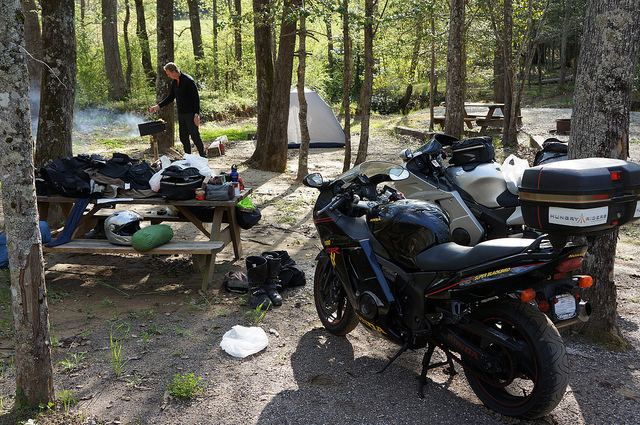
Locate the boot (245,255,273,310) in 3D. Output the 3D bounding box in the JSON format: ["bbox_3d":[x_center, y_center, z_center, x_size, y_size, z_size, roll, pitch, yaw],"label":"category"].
[{"bbox_3d":[-0.774,0.916,6.594,0.274,0.615,0.631,-6,17,-32],"label":"boot"}]

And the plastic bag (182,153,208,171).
[{"bbox_3d":[-1.767,-0.741,7.340,0.276,0.185,0.367,-13,19,-34],"label":"plastic bag"}]

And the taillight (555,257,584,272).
[{"bbox_3d":[2.132,0.441,4.434,0.189,0.075,0.144,-6,-5,35],"label":"taillight"}]

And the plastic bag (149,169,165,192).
[{"bbox_3d":[-2.223,-0.431,6.988,0.177,0.229,0.091,15,12,-34],"label":"plastic bag"}]

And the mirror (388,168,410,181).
[{"bbox_3d":[0.848,-0.430,5.683,0.195,0.193,0.046,0,-5,12],"label":"mirror"}]

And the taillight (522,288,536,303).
[{"bbox_3d":[1.776,0.705,4.428,0.101,0.112,0.094,3,-3,-39],"label":"taillight"}]

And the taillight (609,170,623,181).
[{"bbox_3d":[2.501,-0.316,4.369,0.091,0.091,0.063,2,0,16],"label":"taillight"}]

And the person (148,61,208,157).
[{"bbox_3d":[-3.133,-2.291,11.580,0.903,2.099,1.542,-6,17,-13],"label":"person"}]

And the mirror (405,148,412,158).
[{"bbox_3d":[1.176,-0.799,6.915,0.023,0.088,0.093,-1,2,-28],"label":"mirror"}]
